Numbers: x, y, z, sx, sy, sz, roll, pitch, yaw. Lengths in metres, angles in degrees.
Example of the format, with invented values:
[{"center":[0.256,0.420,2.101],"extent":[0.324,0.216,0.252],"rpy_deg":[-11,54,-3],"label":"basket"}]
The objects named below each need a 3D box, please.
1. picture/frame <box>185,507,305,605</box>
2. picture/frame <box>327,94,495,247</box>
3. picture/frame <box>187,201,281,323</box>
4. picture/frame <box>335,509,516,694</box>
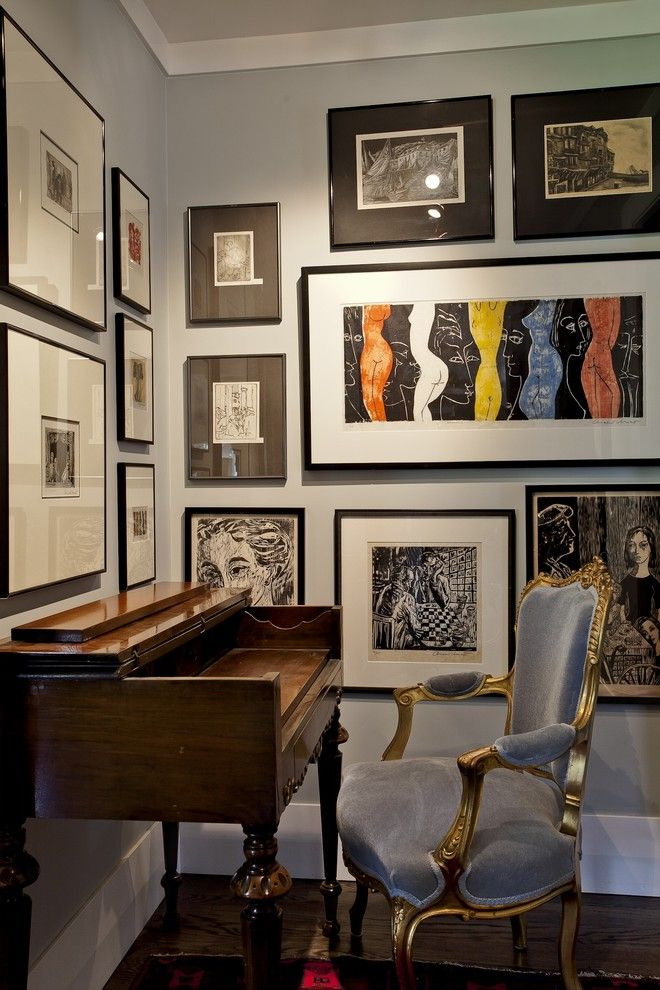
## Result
[{"center":[-0.311,0.228,2.548],"extent":[0.399,0.025,0.483],"rpy_deg":[2,42,-8],"label":"picture/frame"},{"center":[0.291,-1.089,2.488],"extent":[0.404,0.441,0.019],"rpy_deg":[-1,-2,6],"label":"picture/frame"},{"center":[-0.338,-0.804,2.574],"extent":[0.336,0.019,0.461],"rpy_deg":[-7,-42,-13],"label":"picture/frame"},{"center":[0.337,0.359,2.455],"extent":[0.479,0.596,0.024],"rpy_deg":[-1,0,4],"label":"picture/frame"}]
